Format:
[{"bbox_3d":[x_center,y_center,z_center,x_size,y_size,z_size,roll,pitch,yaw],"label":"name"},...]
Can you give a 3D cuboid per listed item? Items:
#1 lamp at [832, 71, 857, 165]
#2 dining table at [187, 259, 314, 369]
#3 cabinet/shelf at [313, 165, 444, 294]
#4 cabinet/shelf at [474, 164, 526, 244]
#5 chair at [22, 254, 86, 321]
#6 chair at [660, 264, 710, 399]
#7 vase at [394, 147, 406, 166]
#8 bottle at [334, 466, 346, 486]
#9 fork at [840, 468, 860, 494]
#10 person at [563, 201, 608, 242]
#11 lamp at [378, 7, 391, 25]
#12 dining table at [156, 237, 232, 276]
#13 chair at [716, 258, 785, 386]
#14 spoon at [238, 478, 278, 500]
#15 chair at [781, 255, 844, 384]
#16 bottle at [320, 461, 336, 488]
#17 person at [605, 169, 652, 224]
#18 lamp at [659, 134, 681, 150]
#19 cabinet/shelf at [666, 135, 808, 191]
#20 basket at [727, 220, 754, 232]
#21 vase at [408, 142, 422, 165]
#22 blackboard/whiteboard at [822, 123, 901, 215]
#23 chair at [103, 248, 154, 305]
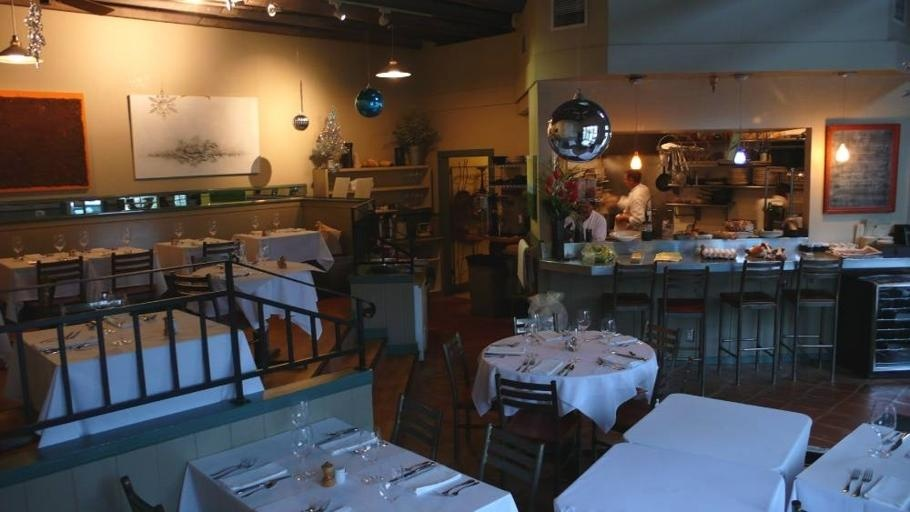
[{"bbox_3d":[6.167,-2.165,10.660,0.224,1.409,0.488,3,8,29],"label":"lamp"},{"bbox_3d":[-2.492,0.586,9.141,1.625,1.149,1.633,4,6,39],"label":"dining table"},{"bbox_3d":[-1.381,-0.500,12.402,2.549,2.369,4.539,-1,6,-8],"label":"cabinet/shelf"},{"bbox_3d":[1.026,-1.095,13.608,1.088,1.743,0.455,3,8,29],"label":"cabinet/shelf"},{"bbox_3d":[-5.575,0.480,9.363,0.720,1.171,0.746,-10,24,-44],"label":"chair"},{"bbox_3d":[3.373,1.045,9.961,0.692,1.764,1.198,2,7,21],"label":"chair"},{"bbox_3d":[-1.134,-2.097,14.311,0.229,0.378,0.170,-2,7,-14],"label":"vase"},{"bbox_3d":[-1.116,2.173,6.610,0.133,0.136,0.137,0,-4,-14],"label":"bottle"},{"bbox_3d":[3.749,2.133,6.334,0.101,0.038,0.350,11,43,39],"label":"fork"},{"bbox_3d":[2.014,-0.488,10.653,0.686,0.880,0.571,0,-5,5],"label":"person"},{"bbox_3d":[-1.136,-3.917,11.065,0.148,0.266,0.327,-1,6,-4],"label":"lamp"},{"bbox_3d":[-4.214,-0.059,11.143,1.138,0.483,1.154,3,6,41],"label":"dining table"},{"bbox_3d":[4.498,0.953,10.078,1.052,1.794,0.827,0,7,4],"label":"chair"},{"bbox_3d":[-1.917,2.290,6.594,0.418,0.106,0.133,-22,-16,9],"label":"spoon"},{"bbox_3d":[5.422,0.902,10.253,0.764,1.805,1.300,3,8,28],"label":"chair"},{"bbox_3d":[-1.233,2.152,6.625,0.142,0.198,0.126,-2,7,-10],"label":"bottle"},{"bbox_3d":[3.400,-1.121,13.061,0.773,1.296,0.787,13,29,26],"label":"person"},{"bbox_3d":[4.210,-2.207,13.262,0.349,0.191,0.327,-7,12,-10],"label":"lamp"},{"bbox_3d":[5.225,-1.789,12.842,2.556,1.097,1.120,1,7,14],"label":"cabinet/shelf"},{"bbox_3d":[4.762,-0.477,11.150,0.302,0.102,0.300,-4,5,-35],"label":"basket"},{"bbox_3d":[-0.817,-2.148,14.400,0.270,0.414,0.089,-1,7,-5],"label":"vase"},{"bbox_3d":[6.554,-1.457,10.893,1.576,1.706,0.119,-2,9,-3],"label":"blackboard/whiteboard"},{"bbox_3d":[-4.752,0.340,9.830,0.619,0.961,0.657,-6,17,-34],"label":"chair"}]
